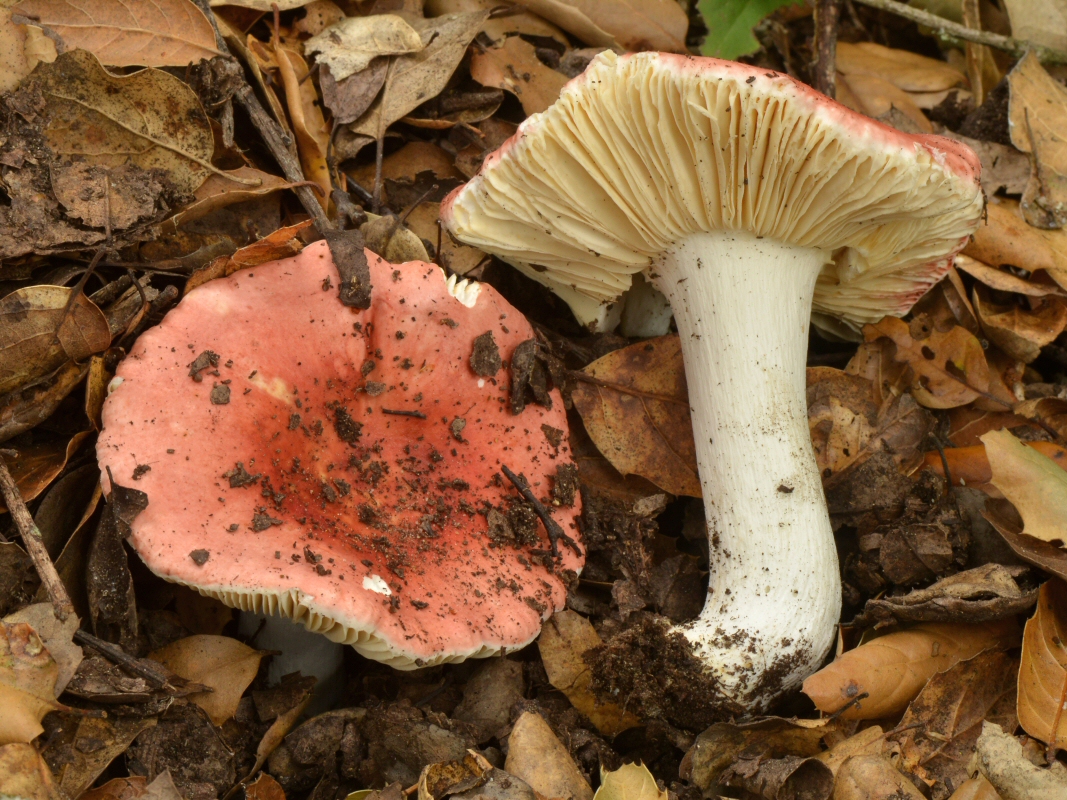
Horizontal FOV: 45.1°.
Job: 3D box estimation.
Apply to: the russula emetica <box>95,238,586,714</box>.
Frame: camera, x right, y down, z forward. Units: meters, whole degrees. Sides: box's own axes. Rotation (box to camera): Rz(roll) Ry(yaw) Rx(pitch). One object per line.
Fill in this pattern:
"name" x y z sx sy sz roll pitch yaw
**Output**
"russula emetica" -0.565 0.189 4.419 1.640 0.385 1.477 37 68 1
